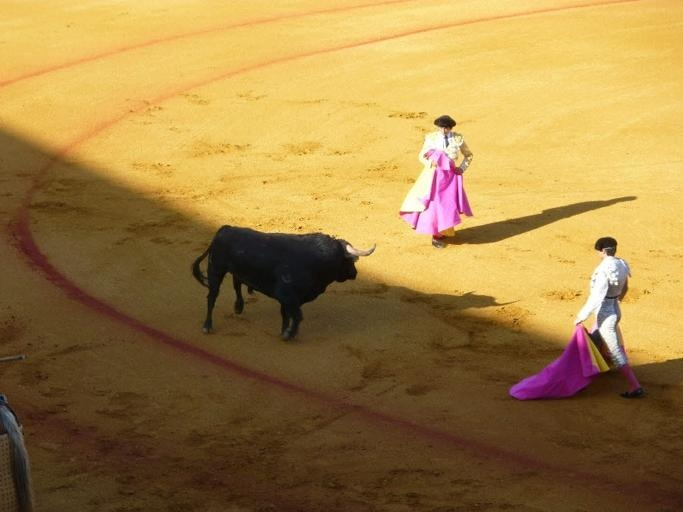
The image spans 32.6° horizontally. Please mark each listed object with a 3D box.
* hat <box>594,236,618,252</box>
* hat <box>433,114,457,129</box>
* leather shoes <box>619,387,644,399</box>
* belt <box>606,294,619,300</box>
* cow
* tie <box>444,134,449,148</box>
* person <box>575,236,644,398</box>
[{"bbox_3d":[3.662,-0.152,16.085,0.257,0.208,0.244,8,9,5],"label":"hat"},{"bbox_3d":[1.851,-2.217,19.467,0.463,0.122,0.404,2,0,-31],"label":"hat"},{"bbox_3d":[4.025,1.910,16.047,0.382,0.082,0.115,-2,8,12],"label":"leather shoes"},{"bbox_3d":[3.765,0.573,16.090,0.250,0.072,0.064,-1,13,-39],"label":"belt"},{"bbox_3d":[-1.163,0.387,17.484,3.393,1.307,1.114,6,4,-35],"label":"cow"},{"bbox_3d":[1.790,-1.927,19.618,0.098,0.204,0.045,18,13,38],"label":"tie"},{"bbox_3d":[3.763,0.851,16.051,0.979,2.187,0.502,11,11,7],"label":"person"}]
